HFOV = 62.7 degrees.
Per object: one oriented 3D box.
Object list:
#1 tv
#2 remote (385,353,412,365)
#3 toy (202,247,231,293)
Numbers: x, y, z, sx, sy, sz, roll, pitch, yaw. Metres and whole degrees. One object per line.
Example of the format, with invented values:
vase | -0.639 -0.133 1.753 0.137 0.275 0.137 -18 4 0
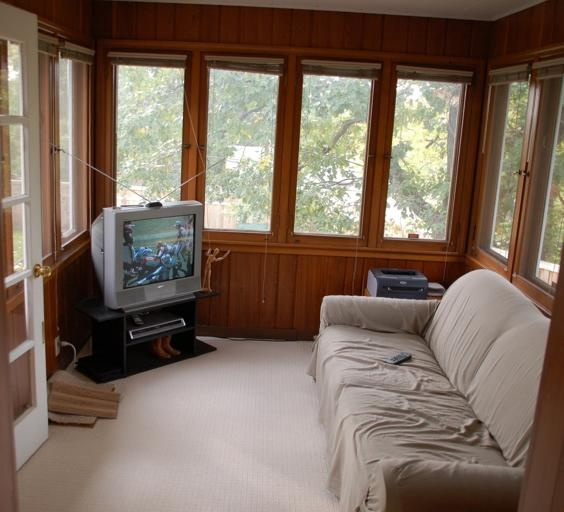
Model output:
tv | -1.158 -0.064 3.849 0.600 0.806 0.796 18 20 40
remote | 0.781 0.665 3.062 0.156 0.051 0.073 -16 19 -23
toy | -0.603 0.137 4.260 0.259 0.406 0.226 1 13 -10
